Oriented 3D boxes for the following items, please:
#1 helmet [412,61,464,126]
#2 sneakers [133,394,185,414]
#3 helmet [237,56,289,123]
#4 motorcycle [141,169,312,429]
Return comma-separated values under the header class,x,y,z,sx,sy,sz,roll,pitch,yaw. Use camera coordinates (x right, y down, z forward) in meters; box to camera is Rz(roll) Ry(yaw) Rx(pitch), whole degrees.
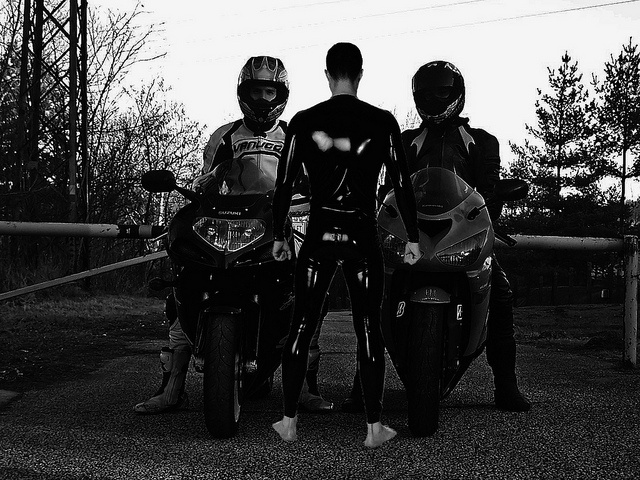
class,x,y,z,sx,sy,sz,roll,pitch,yaw
helmet,0.993,-1.219,5.362,0.421,0.574,0.539,-5,7,27
sneakers,-1.244,1.254,4.908,0.381,0.177,0.147,3,-4,-22
helmet,-0.498,-1.343,5.552,0.395,0.537,0.533,5,25,-4
motorcycle,-0.691,0.288,5.432,1.101,1.875,3.076,-1,8,-3
